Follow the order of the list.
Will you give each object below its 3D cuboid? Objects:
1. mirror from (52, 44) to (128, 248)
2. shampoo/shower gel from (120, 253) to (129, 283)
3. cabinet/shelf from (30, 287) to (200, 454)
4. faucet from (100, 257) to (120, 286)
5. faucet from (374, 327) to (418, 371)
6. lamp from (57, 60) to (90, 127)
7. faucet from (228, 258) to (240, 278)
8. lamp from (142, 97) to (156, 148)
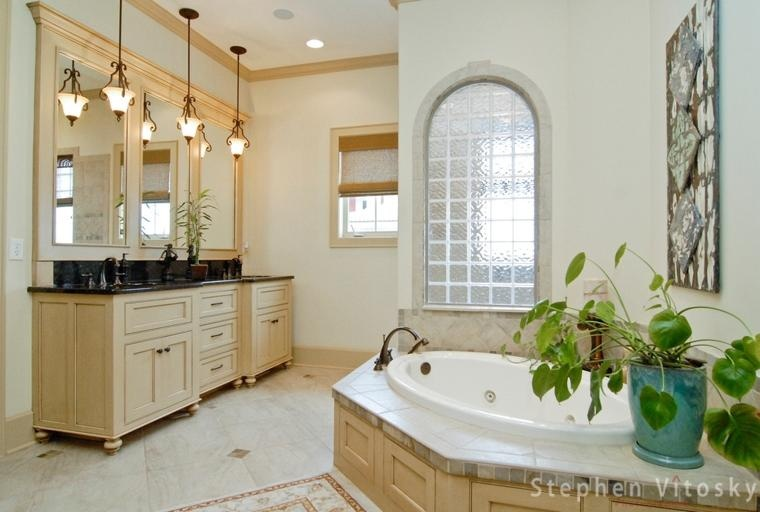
[{"bbox_3d":[-2.326,-0.821,4.630,0.132,1.487,0.673,1,4,24],"label":"mirror"},{"bbox_3d":[-2.109,0.103,4.749,0.071,0.236,0.319,-3,4,-24],"label":"shampoo/shower gel"},{"bbox_3d":[-2.053,0.848,4.970,1.072,1.534,1.242,-1,-3,15],"label":"cabinet/shelf"},{"bbox_3d":[-2.150,0.124,4.584,0.139,0.214,0.387,-3,4,-25],"label":"faucet"},{"bbox_3d":[0.137,0.730,4.452,0.282,0.222,0.460,-2,-5,7],"label":"faucet"},{"bbox_3d":[-2.401,-1.267,4.497,0.160,0.517,0.185,-1,4,2],"label":"lamp"},{"bbox_3d":[-1.527,0.111,6.055,0.145,0.195,0.435,-2,4,-13],"label":"faucet"},{"bbox_3d":[-2.045,-1.171,5.089,0.050,0.419,0.158,0,4,17],"label":"lamp"}]
